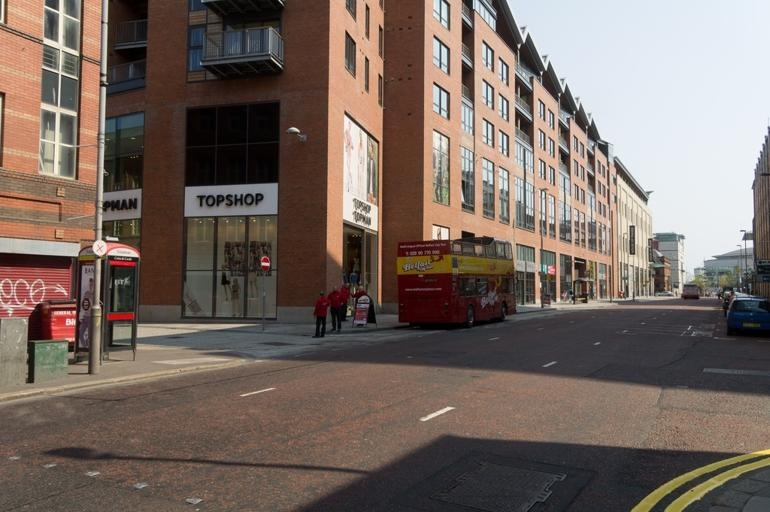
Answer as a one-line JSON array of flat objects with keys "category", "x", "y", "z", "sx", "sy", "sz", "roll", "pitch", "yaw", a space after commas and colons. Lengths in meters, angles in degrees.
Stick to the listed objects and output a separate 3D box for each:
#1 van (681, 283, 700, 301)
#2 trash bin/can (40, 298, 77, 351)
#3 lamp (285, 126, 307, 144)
[{"category": "van", "x": 50.240, "y": 6.080, "z": 104.908, "sx": 1.985, "sy": 1.951, "sz": 3.848, "roll": 0, "pitch": 3, "yaw": 28}, {"category": "trash bin/can", "x": -10.895, "y": 2.304, "z": 21.263, "sx": 0.987, "sy": 1.577, "sz": 0.718, "roll": 2, "pitch": -5, "yaw": -30}, {"category": "lamp", "x": -4.773, "y": -6.430, "z": 34.147, "sx": 0.561, "sy": 0.770, "sz": 1.051, "roll": -14, "pitch": -24, "yaw": 43}]
